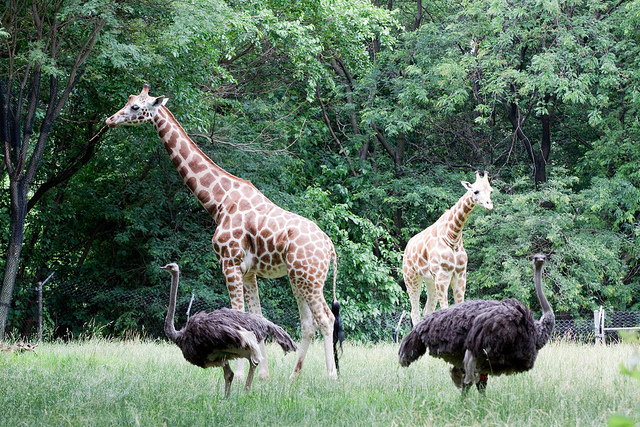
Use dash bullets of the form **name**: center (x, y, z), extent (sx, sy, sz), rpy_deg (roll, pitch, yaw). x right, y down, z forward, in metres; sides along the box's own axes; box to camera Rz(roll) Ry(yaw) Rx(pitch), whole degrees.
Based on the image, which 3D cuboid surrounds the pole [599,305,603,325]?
- **pole**: center (8.086, 2.935, 19.613), extent (0.056, 0.605, 0.727), rpy_deg (2, 8, 21)

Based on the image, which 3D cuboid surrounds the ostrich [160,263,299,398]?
- **ostrich**: center (-1.664, 2.202, 11.979), extent (2.109, 1.975, 0.865), rpy_deg (1, 7, 10)
